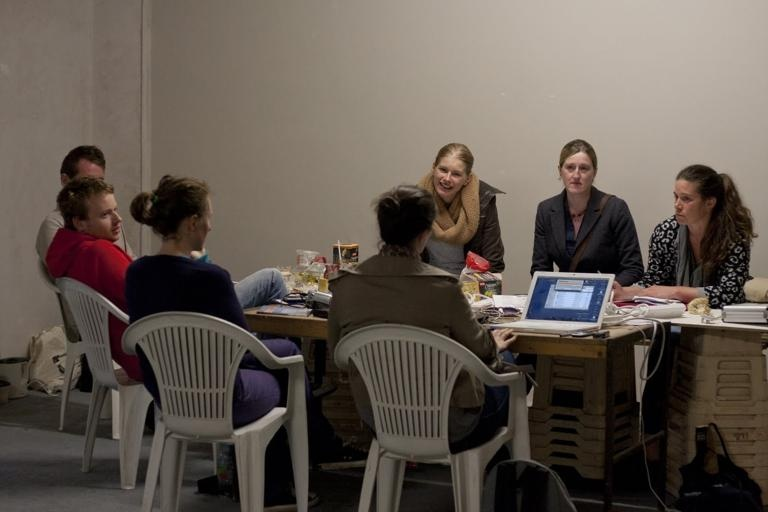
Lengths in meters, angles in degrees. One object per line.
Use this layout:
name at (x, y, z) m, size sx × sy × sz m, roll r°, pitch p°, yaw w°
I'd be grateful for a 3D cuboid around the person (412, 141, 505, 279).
person at (0.476, -0.356, 4.664) m, size 0.815 × 1.199 × 0.802 m, roll 0°, pitch 5°, yaw 4°

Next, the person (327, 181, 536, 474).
person at (0.207, 0.335, 3.041) m, size 0.725 × 1.196 × 0.879 m, roll -1°, pitch -2°, yaw 21°

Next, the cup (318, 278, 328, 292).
cup at (-0.342, 0.161, 3.531) m, size 0.064 × 0.070 × 0.049 m, roll 7°, pitch 10°, yaw 28°
